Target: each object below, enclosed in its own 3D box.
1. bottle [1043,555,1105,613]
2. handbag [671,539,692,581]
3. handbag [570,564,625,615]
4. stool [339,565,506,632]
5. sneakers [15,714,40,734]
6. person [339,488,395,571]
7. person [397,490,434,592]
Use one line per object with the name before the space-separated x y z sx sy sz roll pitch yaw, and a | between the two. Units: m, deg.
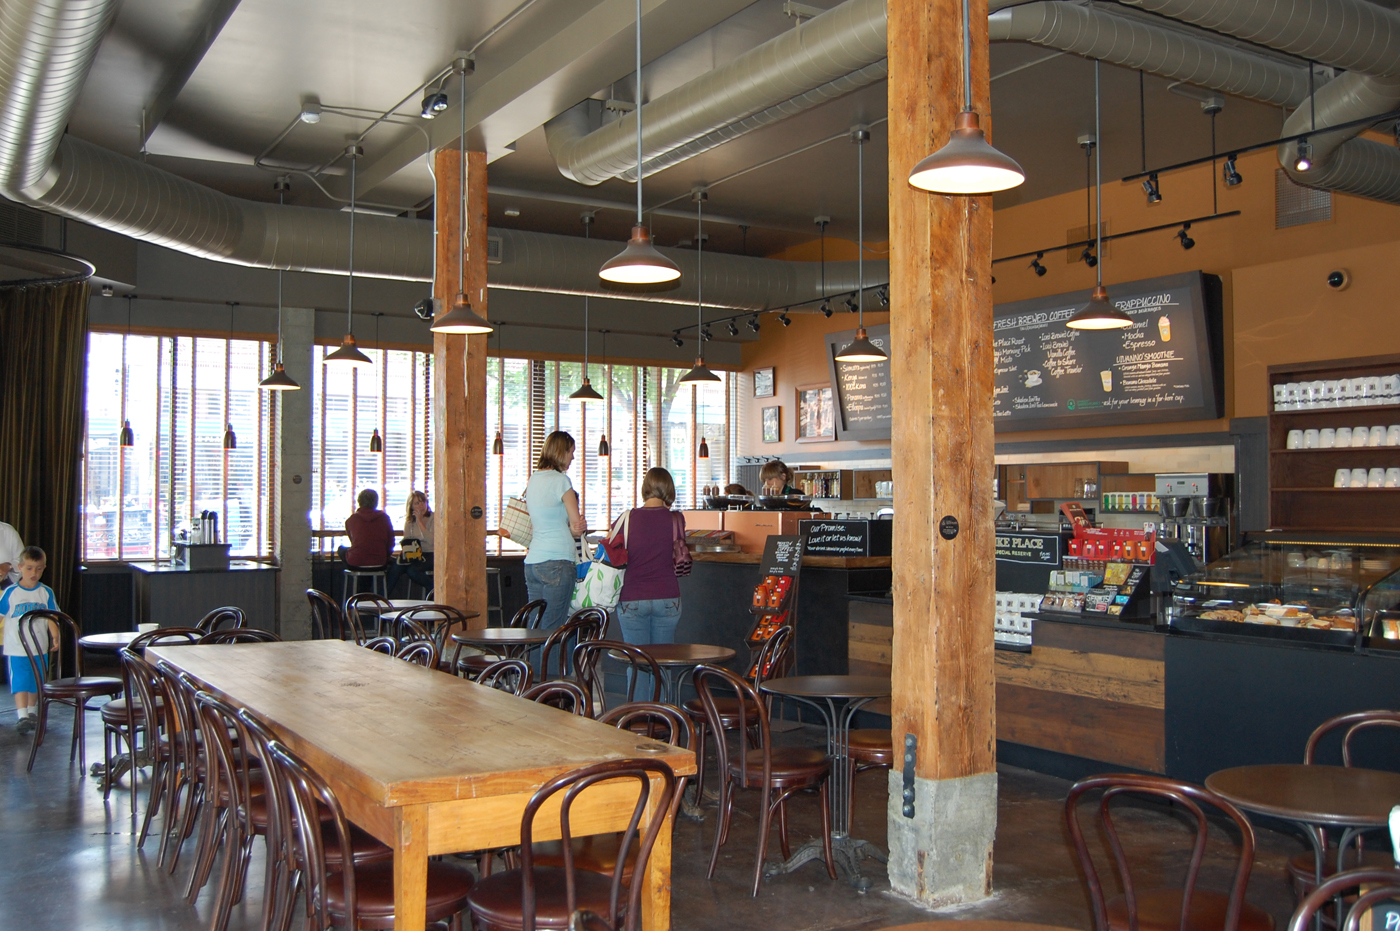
bottle | 2.415 0.835 7.386 0.316 0.399 0.431 13 -15 -30
handbag | -0.128 0.673 8.045 0.086 0.244 0.188 -5 -4 0
handbag | -0.724 0.894 8.031 0.428 0.414 0.164 -1 -20 42
stool | -2.663 1.225 10.407 1.051 0.497 1.016 1 -4 -16
sneakers | -5.153 1.993 8.590 0.124 0.130 0.337 3 -11 -31
person | -3.606 0.693 12.282 0.657 0.855 0.670 -1 4 -19
person | -3.195 0.933 12.677 0.334 1.182 0.757 -3 5 -14
